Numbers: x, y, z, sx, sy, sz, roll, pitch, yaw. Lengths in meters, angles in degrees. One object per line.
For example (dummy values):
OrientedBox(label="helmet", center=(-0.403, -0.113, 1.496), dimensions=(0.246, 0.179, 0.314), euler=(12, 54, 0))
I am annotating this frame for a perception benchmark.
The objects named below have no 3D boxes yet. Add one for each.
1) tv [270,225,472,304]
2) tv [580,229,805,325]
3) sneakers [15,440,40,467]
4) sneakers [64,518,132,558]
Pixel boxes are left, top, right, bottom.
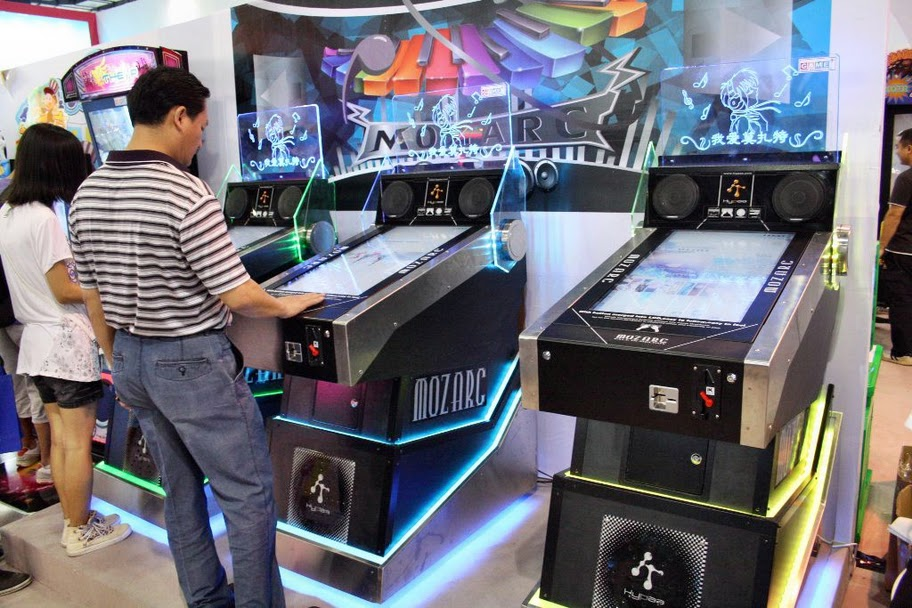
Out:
OrientedBox(label="tv", center=(-0.370, -0.217, 2.854), dimensions=(0.451, 0.071, 0.636), euler=(3, 30, 38))
OrientedBox(label="tv", center=(0.918, -0.118, 2.292), dimensions=(0.543, 0.227, 0.702), euler=(9, 18, 35))
OrientedBox(label="sneakers", center=(-2.915, 1.039, 4.066), dimensions=(0.089, 0.089, 0.204), euler=(0, -1, -3))
OrientedBox(label="sneakers", center=(-1.827, 1.173, 3.093), dimensions=(0.119, 0.131, 0.295), euler=(11, 12, 39))
